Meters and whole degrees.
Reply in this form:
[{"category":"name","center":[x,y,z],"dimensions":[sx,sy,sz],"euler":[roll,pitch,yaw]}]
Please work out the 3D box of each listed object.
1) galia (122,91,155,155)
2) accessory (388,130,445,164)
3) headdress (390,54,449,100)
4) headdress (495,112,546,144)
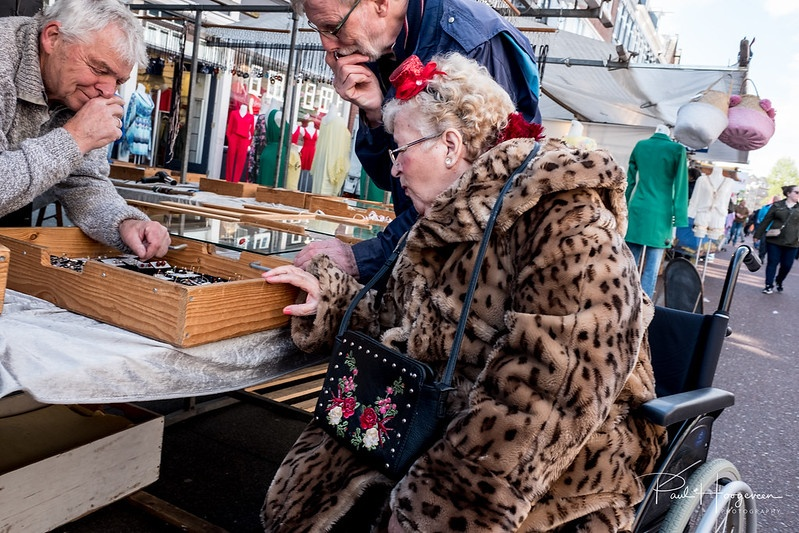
[{"category":"galia","center":[-5.538,-3.062,10.446],"dimensions":[0.533,1.328,0.731],"euler":[16,16,-3]},{"category":"accessory","center":[0.053,-0.475,1.935],"dimensions":[0.129,0.034,0.119],"euler":[-25,1,-3]},{"category":"headdress","center":[0.051,-0.754,1.925],"dimensions":[0.260,0.129,0.185],"euler":[-2,51,1]},{"category":"headdress","center":[0.467,-0.516,1.875],"dimensions":[0.161,0.087,0.150],"euler":[0,4,4]}]
